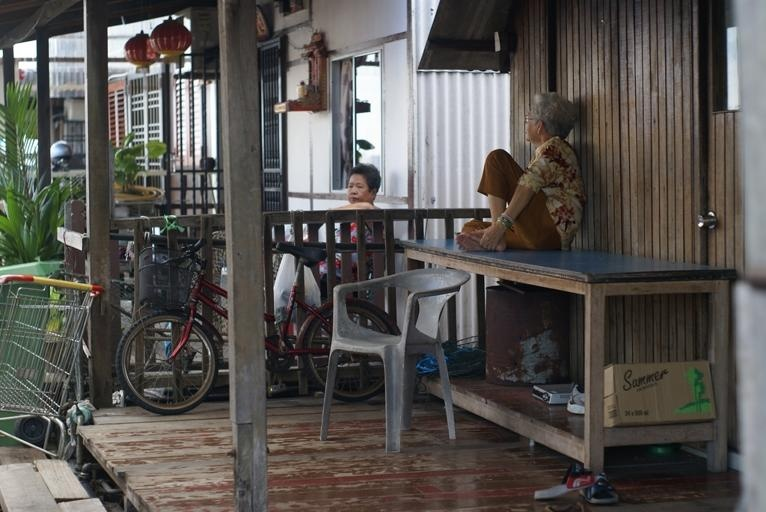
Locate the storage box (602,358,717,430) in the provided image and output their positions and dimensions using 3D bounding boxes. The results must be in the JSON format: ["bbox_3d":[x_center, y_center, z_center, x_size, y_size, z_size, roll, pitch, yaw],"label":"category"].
[{"bbox_3d":[1.855,0.925,6.728,0.754,0.401,0.152,-2,12,-6],"label":"storage box"}]

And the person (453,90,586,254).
[{"bbox_3d":[1.077,-0.654,7.951,0.883,1.235,0.984,6,5,32],"label":"person"}]

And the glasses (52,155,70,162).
[{"bbox_3d":[-4.597,-1.389,14.289,0.213,0.077,0.069,-4,13,-14],"label":"glasses"}]

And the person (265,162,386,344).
[{"bbox_3d":[-0.409,-0.097,9.679,0.752,1.534,0.469,10,1,9],"label":"person"}]

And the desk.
[{"bbox_3d":[1.406,0.666,7.138,1.313,1.333,2.543,-1,8,-17],"label":"desk"}]

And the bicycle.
[{"bbox_3d":[-1.013,0.577,7.912,2.023,1.481,0.666,0,0,-11],"label":"bicycle"}]

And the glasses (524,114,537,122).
[{"bbox_3d":[1.174,-1.097,7.943,0.101,0.058,0.164,4,9,1],"label":"glasses"}]

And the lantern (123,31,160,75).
[{"bbox_3d":[-2.812,-2.374,11.683,0.366,0.446,0.398,-1,-1,11],"label":"lantern"}]

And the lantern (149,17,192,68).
[{"bbox_3d":[-2.428,-2.441,11.448,0.362,0.533,0.415,-3,9,-28],"label":"lantern"}]

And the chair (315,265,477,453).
[{"bbox_3d":[0.068,0.652,7.444,0.995,1.467,0.956,-1,-1,38],"label":"chair"}]

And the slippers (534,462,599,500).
[{"bbox_3d":[1.204,1.479,6.452,0.511,0.206,0.170,0,0,25],"label":"slippers"}]

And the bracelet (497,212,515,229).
[{"bbox_3d":[0.940,-0.260,7.677,0.110,0.084,0.111,34,15,31],"label":"bracelet"}]
